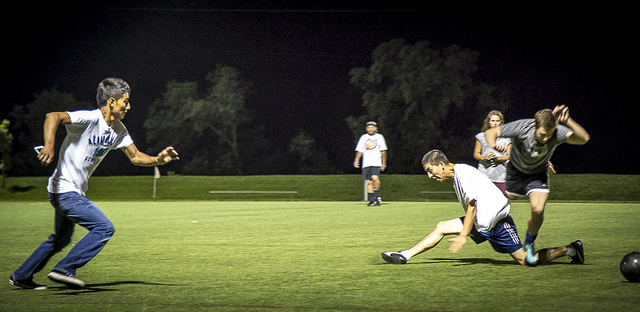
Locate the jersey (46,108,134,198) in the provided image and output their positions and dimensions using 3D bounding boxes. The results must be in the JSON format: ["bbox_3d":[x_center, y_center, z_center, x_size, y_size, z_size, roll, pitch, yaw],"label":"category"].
[{"bbox_3d":[-6.315,-0.126,13.894,1.328,2.470,2.318,11,-15,13],"label":"jersey"}]

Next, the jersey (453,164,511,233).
[{"bbox_3d":[4.665,1.217,14.699,1.006,1.639,1.661,-47,-6,21],"label":"jersey"}]

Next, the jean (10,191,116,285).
[{"bbox_3d":[-6.485,2.166,13.487,2.238,2.374,0.766,-1,8,9],"label":"jean"}]
